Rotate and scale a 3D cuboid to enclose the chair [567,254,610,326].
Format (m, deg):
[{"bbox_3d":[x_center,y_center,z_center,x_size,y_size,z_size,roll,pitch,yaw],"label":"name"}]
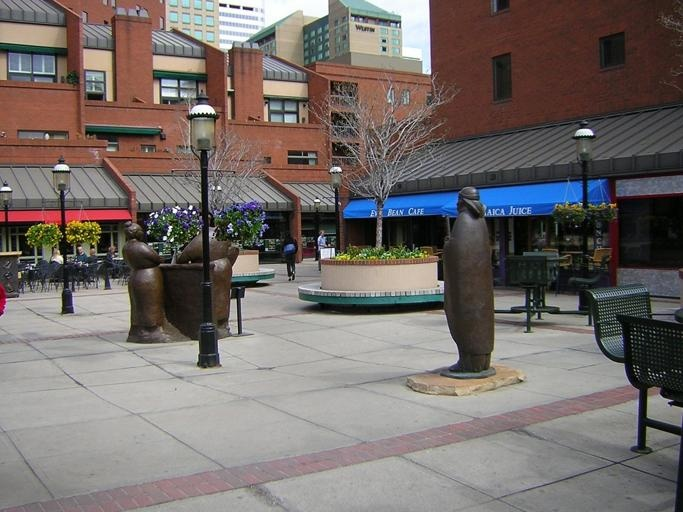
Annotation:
[{"bbox_3d":[5.656,0.681,15.641,0.776,1.437,0.736,-7,-4,12],"label":"chair"}]

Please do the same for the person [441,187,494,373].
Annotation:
[{"bbox_3d":[1.816,0.370,9.679,0.678,2.702,0.363,-1,3,8],"label":"person"}]

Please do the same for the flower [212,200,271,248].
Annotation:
[{"bbox_3d":[-3.582,-1.182,24.041,1.817,1.509,0.884,-3,4,-37],"label":"flower"}]

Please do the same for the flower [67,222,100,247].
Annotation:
[{"bbox_3d":[-10.383,-0.962,27.177,1.215,0.890,1.163,-2,-2,28],"label":"flower"}]

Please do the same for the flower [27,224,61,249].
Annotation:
[{"bbox_3d":[-11.704,-0.845,26.878,1.246,0.942,1.307,-3,-6,29],"label":"flower"}]

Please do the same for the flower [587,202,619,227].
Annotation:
[{"bbox_3d":[7.175,-1.211,18.575,0.878,0.590,0.875,-3,3,-4],"label":"flower"}]

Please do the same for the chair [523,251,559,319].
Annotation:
[{"bbox_3d":[4.259,0.639,14.739,1.052,1.439,1.039,-3,-3,28],"label":"chair"}]

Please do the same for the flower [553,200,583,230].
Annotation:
[{"bbox_3d":[6.347,-1.209,18.922,1.054,0.740,1.005,-1,0,-7],"label":"flower"}]
